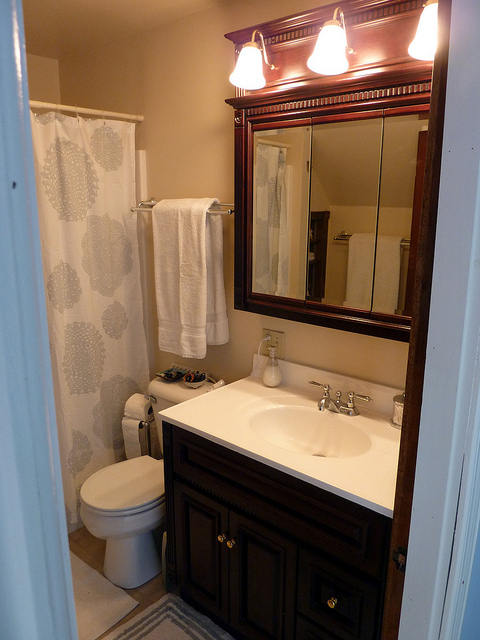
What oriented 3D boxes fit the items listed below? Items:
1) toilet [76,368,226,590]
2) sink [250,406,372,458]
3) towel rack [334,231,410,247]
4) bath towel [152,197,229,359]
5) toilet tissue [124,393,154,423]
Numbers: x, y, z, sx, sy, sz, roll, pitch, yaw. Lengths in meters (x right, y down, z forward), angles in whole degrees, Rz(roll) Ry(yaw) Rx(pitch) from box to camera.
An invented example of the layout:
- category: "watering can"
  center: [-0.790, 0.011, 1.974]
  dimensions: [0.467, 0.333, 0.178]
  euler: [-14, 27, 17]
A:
- category: "toilet"
  center: [-0.391, 0.646, 2.111]
  dimensions: [0.561, 0.749, 0.407]
  euler: [-11, 18, -38]
- category: "sink"
  center: [0.242, 0.381, 1.665]
  dimensions: [0.404, 0.126, 0.157]
  euler: [5, 12, 25]
- category: "towel rack"
  center: [0.427, -0.257, 1.579]
  dimensions: [0.199, 0.043, 0.016]
  euler: [12, 15, 42]
- category: "bath towel"
  center: [-0.225, -0.171, 2.107]
  dimensions: [0.255, 0.669, 0.173]
  euler: [4, 12, 21]
- category: "toilet tissue"
  center: [-0.461, 0.404, 2.337]
  dimensions: [0.125, 0.096, 0.103]
  euler: [3, 31, 34]
